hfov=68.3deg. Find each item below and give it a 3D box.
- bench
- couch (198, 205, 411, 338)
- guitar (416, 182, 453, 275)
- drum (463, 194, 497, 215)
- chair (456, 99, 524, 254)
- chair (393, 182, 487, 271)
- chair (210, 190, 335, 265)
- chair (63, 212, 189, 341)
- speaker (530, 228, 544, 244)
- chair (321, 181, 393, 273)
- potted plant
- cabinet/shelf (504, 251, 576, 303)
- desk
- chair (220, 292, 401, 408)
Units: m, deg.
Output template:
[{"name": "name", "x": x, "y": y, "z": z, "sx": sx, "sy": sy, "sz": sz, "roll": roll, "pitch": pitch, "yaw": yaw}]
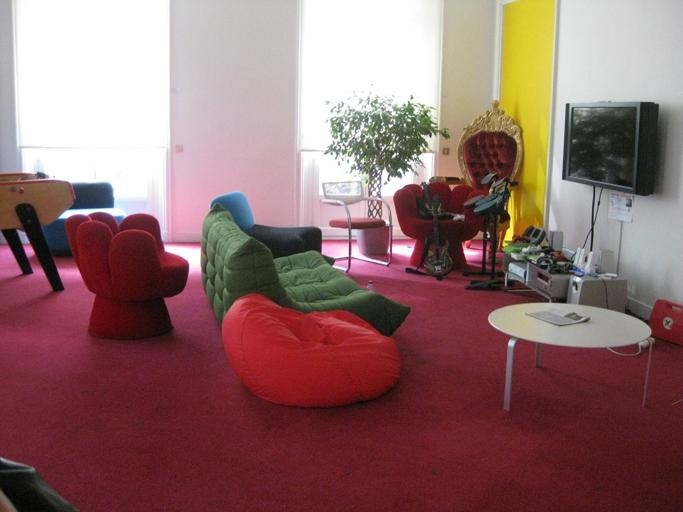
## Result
[{"name": "bench", "x": -3.290, "y": -0.418, "z": 6.387, "sx": 0.829, "sy": 0.863, "sz": 0.830, "roll": 1, "pitch": 35, "yaw": 6}, {"name": "couch", "x": -0.329, "y": 0.171, "z": 3.548, "sx": 0.998, "sy": 0.710, "sz": 1.361, "roll": -1, "pitch": 11, "yaw": -17}, {"name": "guitar", "x": 1.069, "y": -0.320, "z": 5.692, "sx": 0.422, "sy": 0.943, "sz": 0.893, "roll": 2, "pitch": 14, "yaw": 8}, {"name": "drum", "x": 1.392, "y": -0.530, "z": 5.067, "sx": 0.272, "sy": 0.172, "sz": 0.417, "roll": 1, "pitch": 14, "yaw": 3}, {"name": "chair", "x": 2.055, "y": -1.036, "z": 7.096, "sx": 0.935, "sy": 1.910, "sz": 0.818, "roll": 1, "pitch": 4, "yaw": 13}, {"name": "chair", "x": 1.157, "y": -0.372, "z": 6.076, "sx": 1.014, "sy": 1.063, "sz": 0.974, "roll": 3, "pitch": 5, "yaw": 9}, {"name": "chair", "x": -0.681, "y": -0.243, "z": 5.474, "sx": 0.941, "sy": 0.828, "sz": 0.991, "roll": -8, "pitch": 7, "yaw": -6}, {"name": "chair", "x": -1.604, "y": 0.127, "z": 3.859, "sx": 0.810, "sy": 0.860, "sz": 0.878, "roll": 4, "pitch": 8, "yaw": -11}, {"name": "speaker", "x": 2.027, "y": -0.209, "z": 5.211, "sx": 0.062, "sy": 0.177, "sz": 0.130, "roll": 25, "pitch": -13, "yaw": -30}, {"name": "chair", "x": 0.199, "y": -0.371, "z": 6.340, "sx": 0.847, "sy": 1.111, "sz": 0.897, "roll": -1, "pitch": 3, "yaw": 0}, {"name": "potted plant", "x": 0.488, "y": -1.271, "z": 6.676, "sx": 1.348, "sy": 1.495, "sz": 0.998, "roll": 6, "pitch": 9, "yaw": 15}, {"name": "cabinet/shelf", "x": 1.852, "y": 0.218, "z": 4.831, "sx": 0.232, "sy": 0.320, "sz": 0.835, "roll": -2, "pitch": 15, "yaw": -9}, {"name": "desk", "x": 1.315, "y": 0.550, "z": 2.919, "sx": 0.708, "sy": 0.367, "sz": 0.698, "roll": 1, "pitch": 14, "yaw": 12}, {"name": "chair", "x": -0.187, "y": 0.522, "z": 3.133, "sx": 1.032, "sy": 0.533, "sz": 0.997, "roll": -5, "pitch": 9, "yaw": -32}]
